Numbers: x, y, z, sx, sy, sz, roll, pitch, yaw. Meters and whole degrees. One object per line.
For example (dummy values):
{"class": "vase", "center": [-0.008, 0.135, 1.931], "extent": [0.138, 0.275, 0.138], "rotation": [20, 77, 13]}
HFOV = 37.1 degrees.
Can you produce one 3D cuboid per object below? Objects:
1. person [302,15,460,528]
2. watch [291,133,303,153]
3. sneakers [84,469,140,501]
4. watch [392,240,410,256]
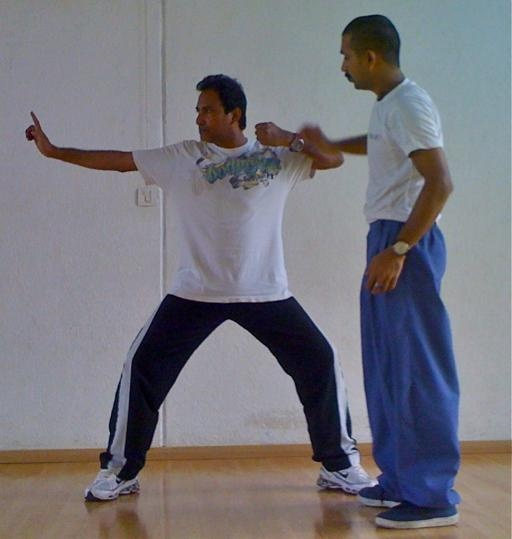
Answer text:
{"class": "person", "center": [0.490, 0.008, 2.580], "extent": [0.410, 1.698, 0.312], "rotation": [2, 4, 34]}
{"class": "watch", "center": [0.150, -0.461, 2.801], "extent": [0.039, 0.066, 0.059], "rotation": [8, 4, -15]}
{"class": "sneakers", "center": [-0.537, 0.806, 2.851], "extent": [0.082, 0.101, 0.212], "rotation": [-16, -24, 40]}
{"class": "watch", "center": [0.461, -0.064, 2.428], "extent": [0.058, 0.051, 0.022], "rotation": [0, 3, 3]}
